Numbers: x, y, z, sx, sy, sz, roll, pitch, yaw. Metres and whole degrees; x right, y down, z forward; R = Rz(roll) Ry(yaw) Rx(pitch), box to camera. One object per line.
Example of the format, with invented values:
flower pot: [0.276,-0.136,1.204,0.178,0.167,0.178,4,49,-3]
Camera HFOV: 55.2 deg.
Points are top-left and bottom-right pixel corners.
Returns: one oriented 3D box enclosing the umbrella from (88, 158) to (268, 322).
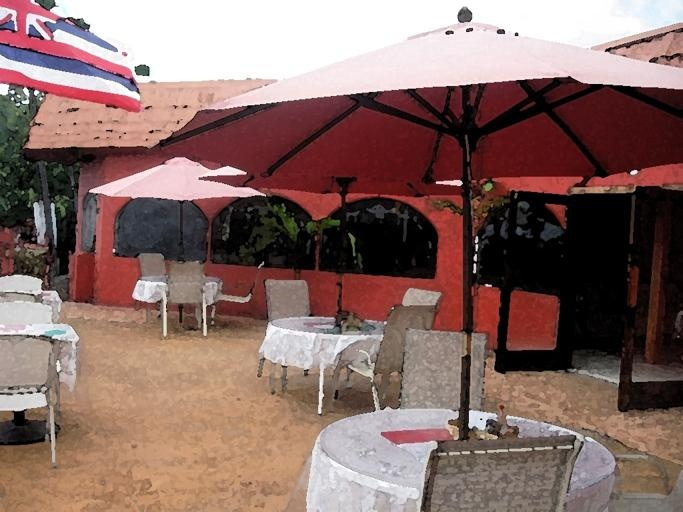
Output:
umbrella: [-2.957,-0.244,12.114,2.716,1.916,2.792,5,6,37]
